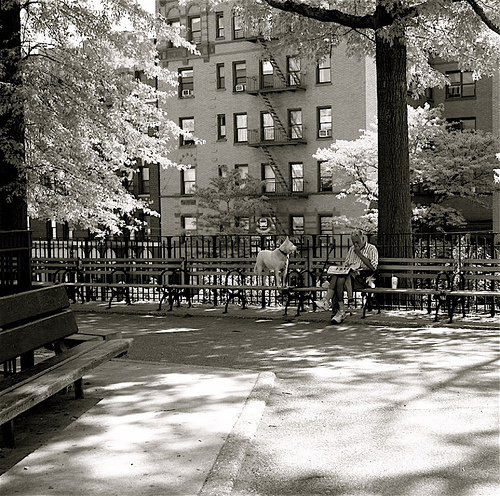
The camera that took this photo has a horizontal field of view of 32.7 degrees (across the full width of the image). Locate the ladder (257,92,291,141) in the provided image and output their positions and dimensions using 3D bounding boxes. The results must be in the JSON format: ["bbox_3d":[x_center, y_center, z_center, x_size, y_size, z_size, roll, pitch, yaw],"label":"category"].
[{"bbox_3d":[1.256,-6.527,42.410,1.708,2.500,0.666,0,1,20],"label":"ladder"}]

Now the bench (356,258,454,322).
[{"bbox_3d":[2.799,0.696,15.106,1.703,1.017,0.722,0,7,36],"label":"bench"}]

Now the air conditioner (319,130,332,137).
[{"bbox_3d":[3.637,-5.547,41.178,0.588,0.308,0.378,-3,2,20],"label":"air conditioner"}]

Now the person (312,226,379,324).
[{"bbox_3d":[1.722,0.472,15.042,1.092,1.603,1.226,-1,1,8],"label":"person"}]

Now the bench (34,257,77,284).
[{"bbox_3d":[-4.393,0.486,19.371,1.545,0.525,0.690,-1,2,41],"label":"bench"}]

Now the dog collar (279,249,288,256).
[{"bbox_3d":[0.625,0.071,15.968,0.111,0.026,0.107,18,-14,23],"label":"dog collar"}]

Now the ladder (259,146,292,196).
[{"bbox_3d":[1.293,-3.848,42.473,1.576,2.535,0.868,0,1,21],"label":"ladder"}]

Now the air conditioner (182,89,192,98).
[{"bbox_3d":[-3.382,-8.357,45.957,0.532,0.377,0.280,0,0,37],"label":"air conditioner"}]
